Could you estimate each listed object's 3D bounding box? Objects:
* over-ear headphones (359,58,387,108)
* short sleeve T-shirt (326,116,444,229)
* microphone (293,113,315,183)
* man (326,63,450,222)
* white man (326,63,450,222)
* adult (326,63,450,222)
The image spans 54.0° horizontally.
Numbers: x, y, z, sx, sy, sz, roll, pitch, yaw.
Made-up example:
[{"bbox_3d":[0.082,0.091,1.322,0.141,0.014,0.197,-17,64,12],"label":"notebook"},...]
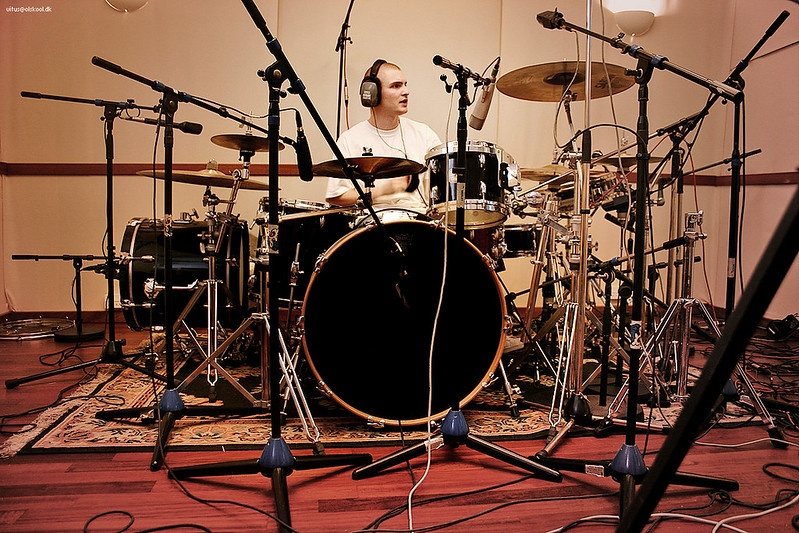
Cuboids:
[{"bbox_3d":[-0.169,-1.253,5.327,0.156,0.323,0.390,13,10,3],"label":"over-ear headphones"},{"bbox_3d":[-0.092,-0.612,5.277,0.818,0.762,0.452,3,-23,-14],"label":"short sleeve T-shirt"},{"bbox_3d":[-0.554,-0.657,4.484,0.099,0.416,0.104,-5,5,34],"label":"microphone"},{"bbox_3d":[-0.086,-0.934,5.601,0.707,1.076,0.855,4,6,33],"label":"man"},{"bbox_3d":[-0.092,-0.933,5.597,0.708,1.076,0.864,3,6,32],"label":"white man"},{"bbox_3d":[-0.092,-0.933,5.597,0.708,1.076,0.864,3,6,32],"label":"adult"}]
